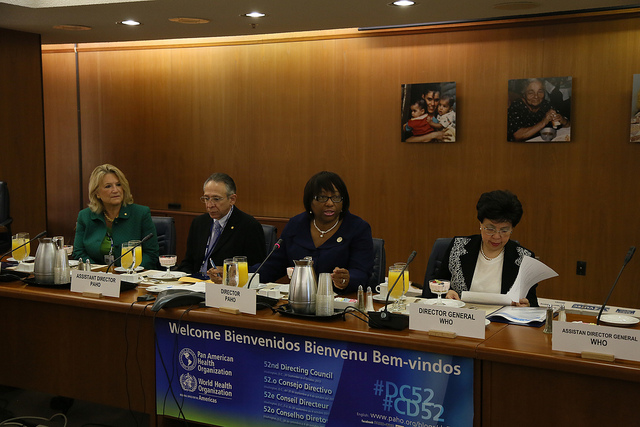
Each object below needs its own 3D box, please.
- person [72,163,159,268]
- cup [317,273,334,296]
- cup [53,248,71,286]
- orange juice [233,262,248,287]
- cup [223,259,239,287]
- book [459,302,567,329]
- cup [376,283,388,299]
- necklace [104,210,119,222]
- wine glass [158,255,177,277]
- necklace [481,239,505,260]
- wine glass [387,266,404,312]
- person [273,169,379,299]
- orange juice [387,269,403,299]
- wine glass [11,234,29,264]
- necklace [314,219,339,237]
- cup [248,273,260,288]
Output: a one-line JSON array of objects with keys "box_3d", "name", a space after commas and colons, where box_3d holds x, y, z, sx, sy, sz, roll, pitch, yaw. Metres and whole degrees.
[{"box_3d": [-1.740, 0.079, 4.149, 0.613, 0.986, 0.652, -3, -4, -3], "name": "person"}, {"box_3d": [0.023, 0.386, 2.638, 0.097, 0.119, 0.102, 0, -2, 0], "name": "cup"}, {"box_3d": [-1.672, 0.346, 3.192, 0.100, 0.233, 0.162, -3, 7, -28], "name": "cup"}, {"box_3d": [-0.457, 0.368, 2.950, 0.112, 0.184, 0.111, -2, 4, -1], "name": "orange juice"}, {"box_3d": [-0.520, 0.356, 2.935, 0.107, 0.188, 0.108, -2, -12, 0], "name": "cup"}, {"box_3d": [1.028, 0.547, 2.692, 0.444, 0.035, 0.351, 3, 7, 15], "name": "book"}, {"box_3d": [0.382, 0.478, 3.012, 0.067, 0.080, 0.104, 2, -3, -40], "name": "cup"}, {"box_3d": [-1.795, 0.032, 4.193, 0.109, 0.082, 0.018, 4, 7, 24], "name": "necklace"}, {"box_3d": [-1.086, 0.368, 3.500, 0.135, 0.165, 0.142, 1, -1, -3], "name": "wine glass"}, {"box_3d": [1.121, 0.247, 3.196, 0.143, 0.102, 0.048, 3, 7, 18], "name": "necklace"}, {"box_3d": [0.425, 0.417, 2.754, 0.092, 0.245, 0.302, 2, 7, 8], "name": "wine glass"}, {"box_3d": [0.101, 0.170, 3.528, 0.779, 1.163, 0.790, -1, -8, 5], "name": "person"}, {"box_3d": [0.434, 0.398, 2.798, 0.097, 0.170, 0.104, 0, 2, -19], "name": "orange juice"}, {"box_3d": [-2.233, 0.269, 3.681, 0.127, 0.227, 0.126, 5, 1, -31], "name": "wine glass"}, {"box_3d": [0.054, 0.106, 3.461, 0.110, 0.147, 0.012, 5, -23, 12], "name": "necklace"}, {"box_3d": [-0.404, 0.431, 3.108, 0.062, 0.092, 0.088, 3, 7, 17], "name": "cup"}]
